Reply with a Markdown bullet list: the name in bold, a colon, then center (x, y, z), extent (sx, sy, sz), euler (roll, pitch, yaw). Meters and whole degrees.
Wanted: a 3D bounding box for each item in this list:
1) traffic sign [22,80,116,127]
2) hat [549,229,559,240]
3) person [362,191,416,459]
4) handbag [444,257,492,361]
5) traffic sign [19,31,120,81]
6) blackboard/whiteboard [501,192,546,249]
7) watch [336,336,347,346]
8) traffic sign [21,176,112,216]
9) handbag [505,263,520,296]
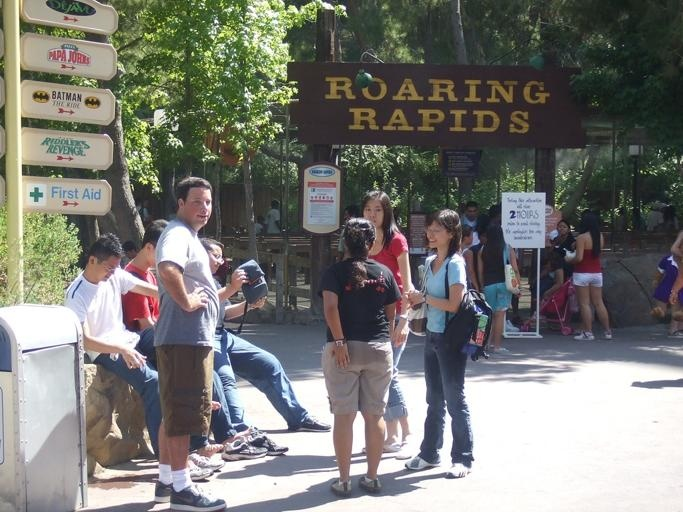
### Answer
- **traffic sign**: center (-3.113, -1.716, 10.636), extent (1.027, 0.424, 0.199), euler (-1, 2, -23)
- **hat**: center (3.700, -0.350, 16.312), extent (0.124, 0.174, 0.037), euler (21, -2, -39)
- **person**: center (0.509, 0.726, 9.736), extent (0.723, 2.426, 0.769), euler (6, 9, 6)
- **handbag**: center (1.253, 0.689, 9.264), extent (0.509, 0.711, 0.295), euler (0, 2, -5)
- **traffic sign**: center (-3.104, -2.241, 10.623), extent (1.074, 0.435, 0.199), euler (-1, 2, -32)
- **blackboard/whiteboard**: center (2.927, -0.550, 15.113), extent (0.779, 1.028, 0.046), euler (1, -3, -9)
- **watch**: center (-0.009, 0.799, 8.776), extent (0.096, 0.065, 0.085), euler (-12, 6, -38)
- **traffic sign**: center (-3.099, -0.665, 10.577), extent (1.017, 0.474, 0.047), euler (1, 33, -20)
- **handbag**: center (2.550, 0.356, 13.993), extent (0.193, 0.433, 0.306), euler (0, 2, 10)
